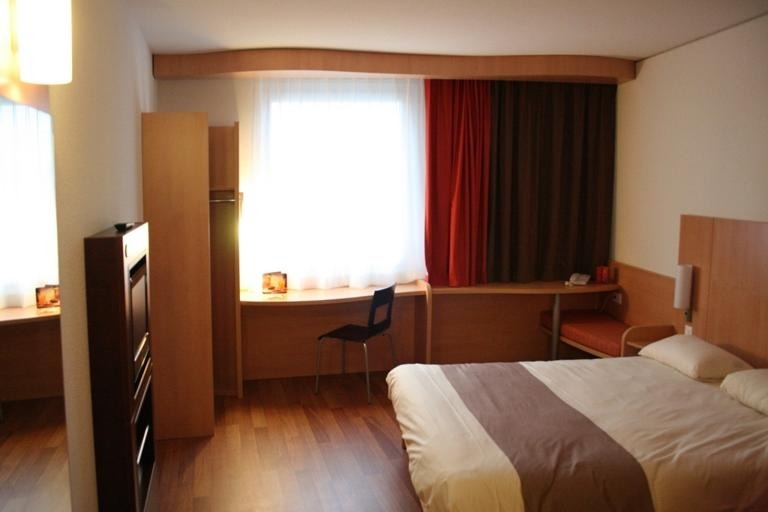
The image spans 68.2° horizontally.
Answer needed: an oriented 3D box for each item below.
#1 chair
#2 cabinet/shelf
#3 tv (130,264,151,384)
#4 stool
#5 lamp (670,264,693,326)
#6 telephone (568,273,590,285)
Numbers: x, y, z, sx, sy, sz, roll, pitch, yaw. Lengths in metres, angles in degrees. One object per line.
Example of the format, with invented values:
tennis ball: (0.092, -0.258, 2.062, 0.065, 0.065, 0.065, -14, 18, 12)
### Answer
chair: (-0.247, 0.721, 5.064, 0.627, 0.962, 0.641, 7, 7, 34)
cabinet/shelf: (-1.423, 0.139, 4.365, 0.459, 2.411, 0.779, 0, 8, 16)
tv: (-1.424, 0.380, 3.310, 0.091, 0.678, 0.653, -5, 8, -20)
stool: (1.869, 0.687, 5.093, 0.587, 0.235, 0.905, 1, 9, 23)
lamp: (2.371, 0.305, 4.484, 0.113, 0.481, 0.156, 4, 10, 39)
telephone: (1.820, 0.213, 5.306, 0.258, 0.090, 0.193, -2, 8, 2)
